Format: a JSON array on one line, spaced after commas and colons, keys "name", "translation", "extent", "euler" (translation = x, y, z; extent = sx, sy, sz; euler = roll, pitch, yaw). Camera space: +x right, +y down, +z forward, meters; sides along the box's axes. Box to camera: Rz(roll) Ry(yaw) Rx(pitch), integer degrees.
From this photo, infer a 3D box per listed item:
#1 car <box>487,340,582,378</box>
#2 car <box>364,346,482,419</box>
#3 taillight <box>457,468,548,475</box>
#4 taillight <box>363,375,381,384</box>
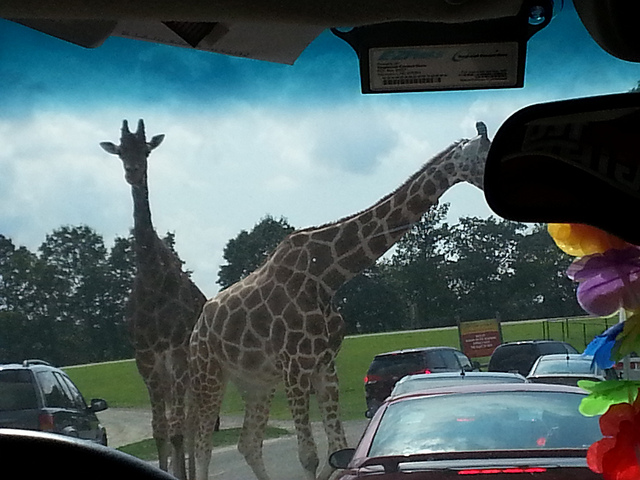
[{"name": "car", "translation": [4.301, 2.536, 14.233], "extent": [1.670, 0.825, 0.972], "euler": [0, -6, -30]}, {"name": "car", "translation": [1.870, 2.165, 12.650], "extent": [1.452, 1.300, 2.454], "euler": [-4, -4, 34]}, {"name": "taillight", "translation": [0.882, 1.106, 3.421], "extent": [0.430, 0.022, 0.039], "euler": [-3, -6, 0]}, {"name": "taillight", "translation": [0.904, 2.364, 12.164], "extent": [0.174, 0.071, 0.154], "euler": [-8, 6, 26]}]
